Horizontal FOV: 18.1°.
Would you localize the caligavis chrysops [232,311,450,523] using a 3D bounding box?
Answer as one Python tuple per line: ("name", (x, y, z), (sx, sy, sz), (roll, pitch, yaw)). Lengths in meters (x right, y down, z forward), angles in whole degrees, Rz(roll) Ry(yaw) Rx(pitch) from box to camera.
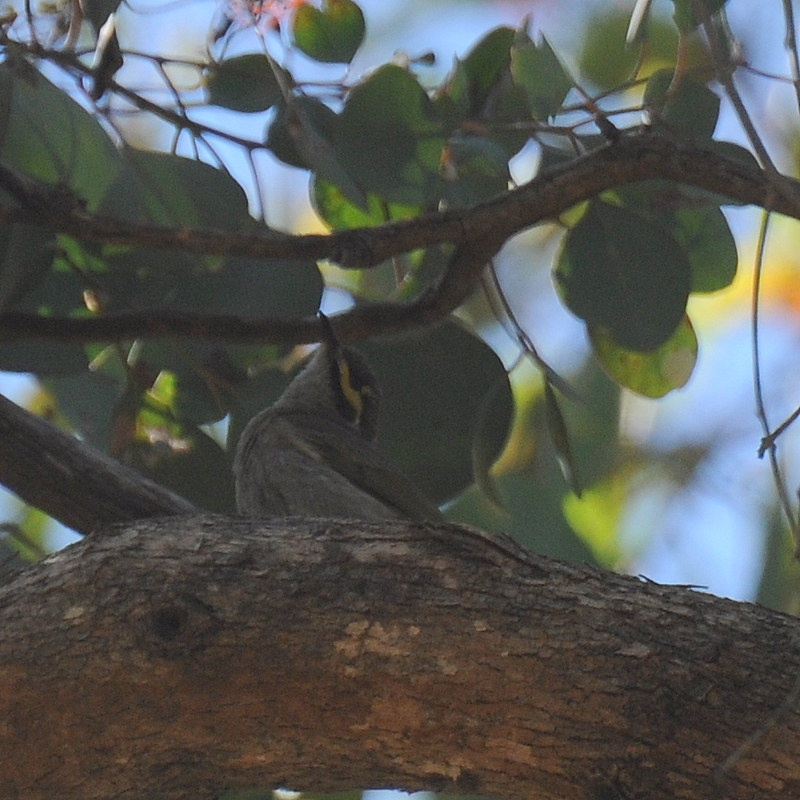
("caligavis chrysops", (-0.054, 0.103, 2.852), (0.246, 0.211, 0.312), (1, 60, -1))
